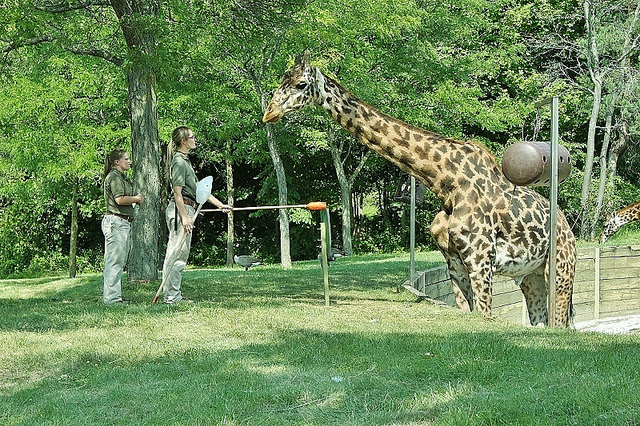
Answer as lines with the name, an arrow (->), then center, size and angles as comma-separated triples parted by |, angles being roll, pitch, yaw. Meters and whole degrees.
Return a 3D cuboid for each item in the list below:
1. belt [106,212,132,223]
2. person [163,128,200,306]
belt -> -4.293, 0.096, 18.577 | 0.271, 0.082, 0.271 | 23, -3, -31
person -> -2.987, 0.065, 18.403 | 0.788, 3.771, 0.526 | -4, -6, 31
